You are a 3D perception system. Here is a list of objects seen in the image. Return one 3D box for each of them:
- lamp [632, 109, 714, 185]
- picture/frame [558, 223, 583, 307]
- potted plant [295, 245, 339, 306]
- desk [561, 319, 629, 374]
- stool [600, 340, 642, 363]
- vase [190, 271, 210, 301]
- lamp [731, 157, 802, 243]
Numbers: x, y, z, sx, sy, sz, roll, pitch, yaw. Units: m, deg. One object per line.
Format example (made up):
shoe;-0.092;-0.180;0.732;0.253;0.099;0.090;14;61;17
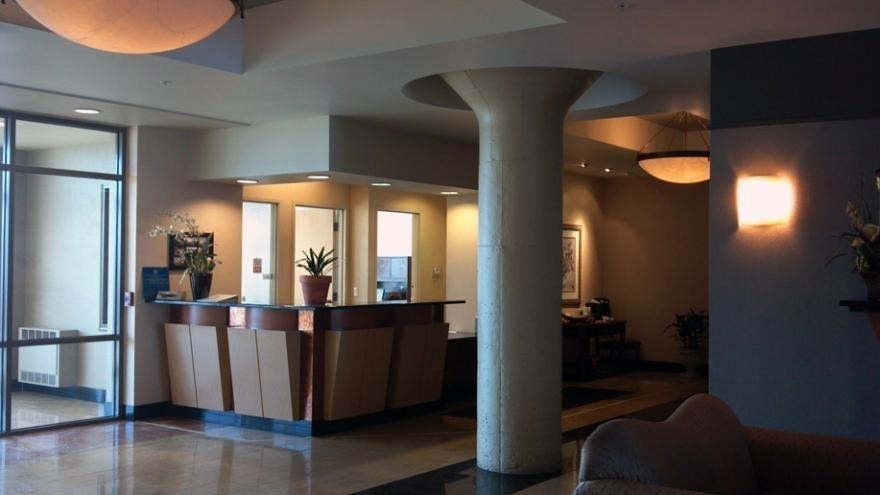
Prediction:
lamp;3.989;-1.663;10.858;1.062;1.127;1.814;1;2;21
picture/frame;2.763;0.362;13.273;0.141;1.640;0.636;1;2;36
potted plant;-1.753;0.397;8.930;0.377;0.778;0.904;-1;2;-12
desk;3.035;1.952;12.630;1.031;0.786;1.753;-2;-4;32
stool;3.769;2.128;13.335;0.585;0.503;0.816;1;-1;41
vase;-3.572;0.580;9.557;0.283;0.411;0.305;-1;2;-23
lamp;3.539;-0.447;6.534;0.787;0.777;0.759;2;2;34
